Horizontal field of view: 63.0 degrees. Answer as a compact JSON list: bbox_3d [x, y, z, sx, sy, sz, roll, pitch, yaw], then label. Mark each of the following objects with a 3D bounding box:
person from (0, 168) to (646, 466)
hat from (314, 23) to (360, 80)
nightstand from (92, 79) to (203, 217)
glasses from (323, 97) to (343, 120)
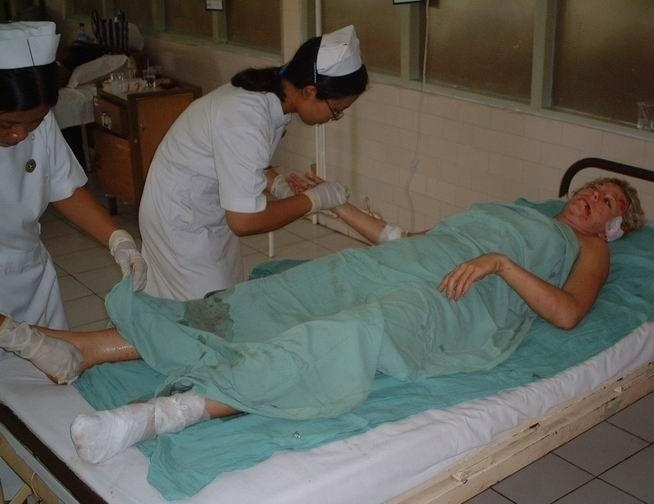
[{"bbox_3d":[0.340,0.195,2.393,2.291,0.539,1.216,-14,24,-24],"label":"person"},{"bbox_3d":[0.055,-0.855,2.278,0.168,0.198,0.350,8,24,20],"label":"hat"},{"bbox_3d":[-1.884,-1.000,5.310,0.769,1.240,0.646,18,25,35],"label":"nightstand"},{"bbox_3d":[0.026,-0.618,2.299,0.021,0.087,0.079,-14,-4,18],"label":"glasses"}]
